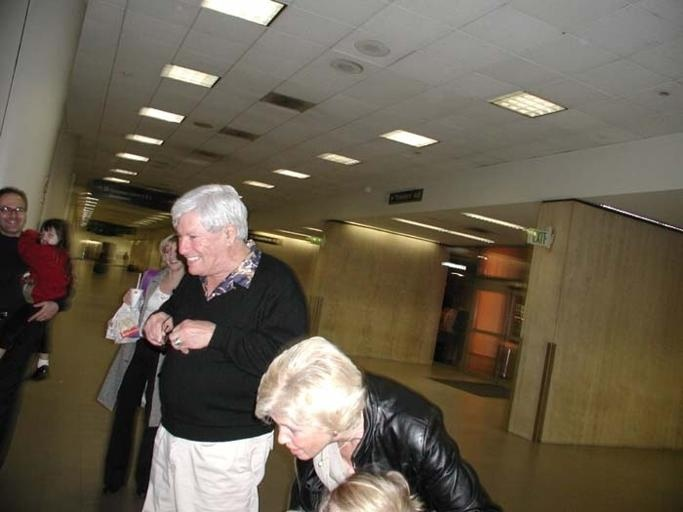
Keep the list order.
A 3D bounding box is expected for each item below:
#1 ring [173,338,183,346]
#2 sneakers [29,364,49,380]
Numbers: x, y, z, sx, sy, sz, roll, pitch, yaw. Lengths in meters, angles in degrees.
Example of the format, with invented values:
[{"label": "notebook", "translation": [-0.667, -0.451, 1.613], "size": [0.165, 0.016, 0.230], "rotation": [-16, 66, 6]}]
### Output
[{"label": "ring", "translation": [-0.802, 0.425, 2.079], "size": [0.036, 0.038, 0.017], "rotation": [-22, -13, 24]}, {"label": "sneakers", "translation": [-3.973, 1.509, 5.576], "size": [0.146, 0.165, 0.412], "rotation": [8, -5, -28]}]
